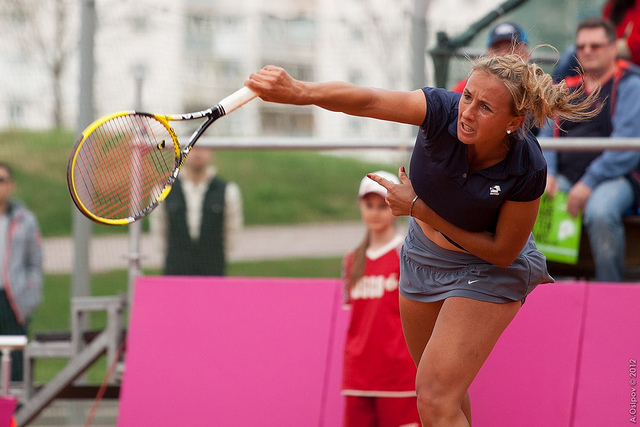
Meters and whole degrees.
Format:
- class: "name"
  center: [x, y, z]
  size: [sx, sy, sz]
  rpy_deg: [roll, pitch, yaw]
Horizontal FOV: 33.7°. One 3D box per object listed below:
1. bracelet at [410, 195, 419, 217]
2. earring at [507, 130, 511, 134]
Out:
- class: "bracelet"
  center: [0.756, -0.071, 8.561]
  size: [0.048, 0.127, 0.113]
  rpy_deg: [0, 10, 10]
- class: "earring"
  center: [1.494, -0.660, 8.347]
  size: [0.028, 0.027, 0.024]
  rpy_deg: [0, 9, 0]
